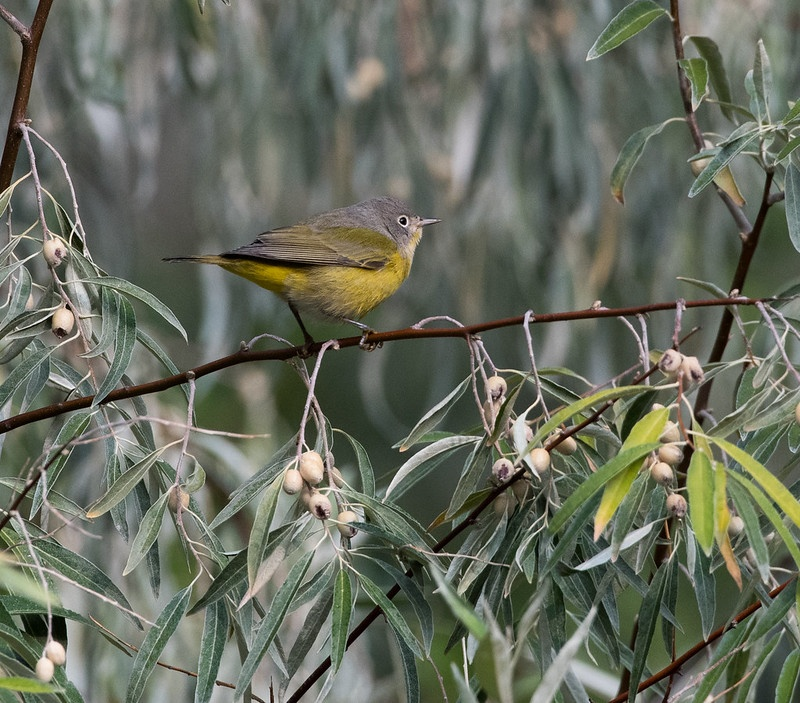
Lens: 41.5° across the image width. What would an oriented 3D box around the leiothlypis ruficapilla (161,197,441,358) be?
[{"bbox_3d":[-0.338,-0.302,4.113,0.981,0.705,0.344,3,-8,-23],"label":"leiothlypis ruficapilla"}]
